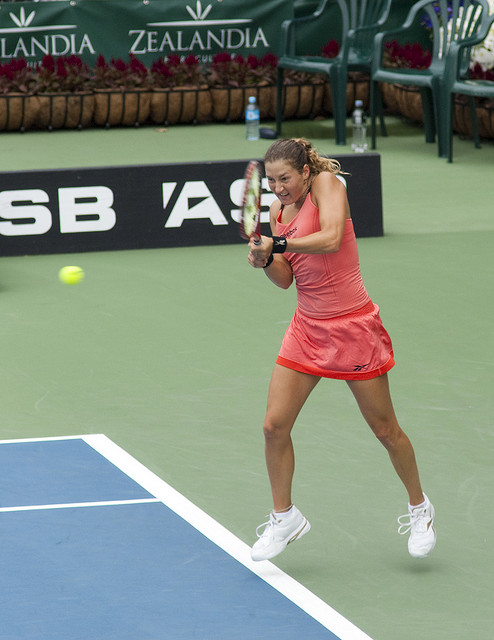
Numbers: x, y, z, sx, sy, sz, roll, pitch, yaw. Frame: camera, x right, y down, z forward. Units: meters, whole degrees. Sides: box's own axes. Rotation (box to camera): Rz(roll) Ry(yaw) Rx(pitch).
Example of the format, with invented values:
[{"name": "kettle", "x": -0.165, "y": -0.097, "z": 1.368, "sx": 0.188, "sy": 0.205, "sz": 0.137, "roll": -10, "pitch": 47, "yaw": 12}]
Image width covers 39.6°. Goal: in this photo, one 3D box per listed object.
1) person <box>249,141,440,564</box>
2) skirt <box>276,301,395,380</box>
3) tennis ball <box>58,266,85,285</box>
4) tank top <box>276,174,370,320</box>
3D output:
[{"name": "person", "x": 0.341, "y": 0.142, "z": 2.546, "sx": 0.684, "sy": 1.594, "sz": 0.428, "roll": -1, "pitch": 11, "yaw": 12}, {"name": "skirt", "x": 0.343, "y": 0.064, "z": 2.655, "sx": 0.492, "sy": 0.242, "sz": 0.238, "roll": 3, "pitch": 12, "yaw": 1}, {"name": "tennis ball", "x": -1.648, "y": -0.412, "z": 6.409, "sx": 0.224, "sy": 0.149, "sz": 0.182, "roll": 7, "pitch": 27, "yaw": 23}, {"name": "tank top", "x": 0.273, "y": -0.268, "z": 2.559, "sx": 0.347, "sy": 0.535, "sz": 0.280, "roll": -1, "pitch": 10, "yaw": 8}]
